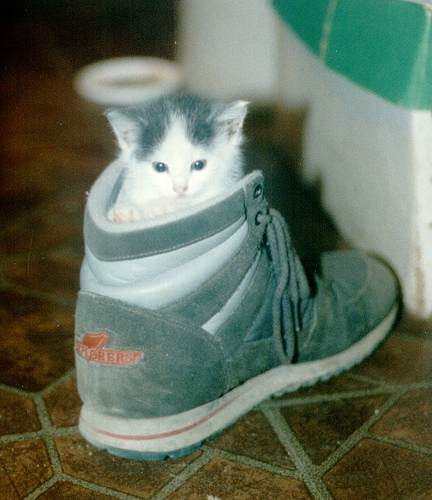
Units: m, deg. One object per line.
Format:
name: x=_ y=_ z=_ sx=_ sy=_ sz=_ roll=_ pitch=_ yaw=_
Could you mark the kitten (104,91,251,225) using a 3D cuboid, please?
kitten: x=-0.083 y=-0.250 z=1.443 sx=0.258 sy=0.146 sz=0.401 roll=-8 pitch=29 yaw=5
